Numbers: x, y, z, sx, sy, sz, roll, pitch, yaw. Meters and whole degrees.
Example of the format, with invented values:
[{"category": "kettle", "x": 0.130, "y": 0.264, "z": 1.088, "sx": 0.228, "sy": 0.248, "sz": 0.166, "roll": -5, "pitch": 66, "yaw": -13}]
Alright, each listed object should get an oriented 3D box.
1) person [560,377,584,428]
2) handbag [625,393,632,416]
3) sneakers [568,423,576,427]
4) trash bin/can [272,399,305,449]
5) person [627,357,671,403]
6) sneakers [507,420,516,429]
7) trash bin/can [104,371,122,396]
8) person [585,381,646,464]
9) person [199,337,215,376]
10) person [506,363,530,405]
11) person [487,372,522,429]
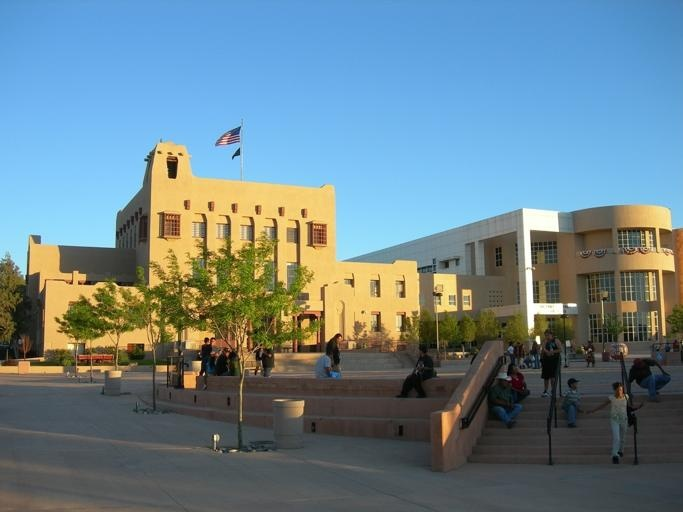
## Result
[{"category": "person", "x": 6.368, "y": 4.089, "z": 19.541, "sx": 0.478, "sy": 1.262, "sz": 0.837, "roll": -4, "pitch": -6, "yaw": 22}, {"category": "handbag", "x": 7.265, "y": 3.795, "z": 17.836, "sx": 0.089, "sy": 0.376, "sz": 0.275, "roll": -5, "pitch": -10, "yaw": 11}, {"category": "sneakers", "x": 6.274, "y": 4.646, "z": 19.179, "sx": 0.219, "sy": 0.122, "sz": 0.120, "roll": -3, "pitch": -20, "yaw": 0}, {"category": "trash bin/can", "x": -1.487, "y": 4.753, "z": 19.860, "sx": 0.810, "sy": 1.310, "sz": 0.479, "roll": -1, "pitch": -5, "yaw": -8}, {"category": "person", "x": 8.859, "y": 3.494, "z": 20.523, "sx": 0.912, "sy": 1.323, "sz": 0.784, "roll": -27, "pitch": 7, "yaw": 44}, {"category": "sneakers", "x": 4.731, "y": 4.678, "z": 19.513, "sx": 0.274, "sy": 0.195, "sz": 0.108, "roll": 0, "pitch": -6, "yaw": -19}, {"category": "trash bin/can", "x": -10.860, "y": 6.024, "z": 33.270, "sx": 1.060, "sy": 1.235, "sz": 1.079, "roll": 0, "pitch": -4, "yaw": 2}, {"category": "person", "x": 7.147, "y": 4.265, "z": 17.925, "sx": 0.610, "sy": 2.006, "sz": 0.702, "roll": -4, "pitch": -6, "yaw": 21}, {"category": "person", "x": -5.807, "y": 4.482, "z": 30.451, "sx": 0.501, "sy": 1.294, "sz": 1.058, "roll": -1, "pitch": -5, "yaw": -10}, {"category": "person", "x": 5.106, "y": 3.718, "z": 20.548, "sx": 0.708, "sy": 1.015, "sz": 0.603, "roll": -7, "pitch": -3, "yaw": -34}, {"category": "person", "x": 4.666, "y": 4.094, "z": 19.929, "sx": 0.881, "sy": 1.439, "sz": 1.015, "roll": 1, "pitch": 2, "yaw": -1}]
